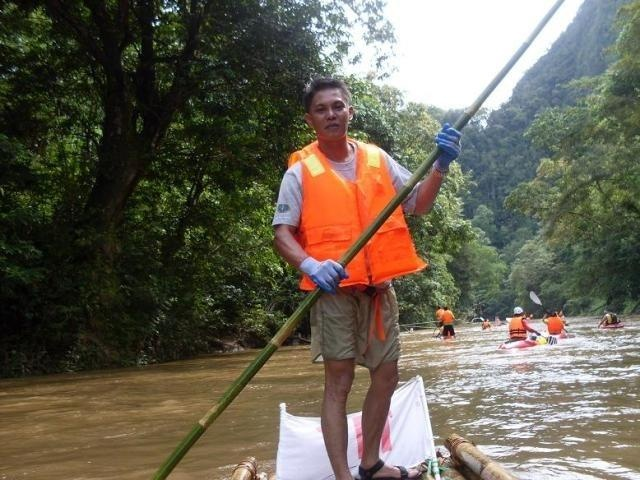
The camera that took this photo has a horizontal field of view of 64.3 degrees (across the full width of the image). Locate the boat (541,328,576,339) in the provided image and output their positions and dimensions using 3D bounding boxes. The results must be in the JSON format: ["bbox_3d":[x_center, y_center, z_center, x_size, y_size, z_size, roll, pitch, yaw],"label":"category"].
[{"bbox_3d":[7.568,2.906,16.108,0.741,0.372,1.158,-11,-20,31],"label":"boat"}]

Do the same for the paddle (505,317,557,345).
[{"bbox_3d":[5.889,2.449,14.043,0.656,0.832,1.838,0,-2,39],"label":"paddle"}]

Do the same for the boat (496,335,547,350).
[{"bbox_3d":[5.502,2.727,13.771,1.205,0.416,0.716,-5,-5,-30],"label":"boat"}]
